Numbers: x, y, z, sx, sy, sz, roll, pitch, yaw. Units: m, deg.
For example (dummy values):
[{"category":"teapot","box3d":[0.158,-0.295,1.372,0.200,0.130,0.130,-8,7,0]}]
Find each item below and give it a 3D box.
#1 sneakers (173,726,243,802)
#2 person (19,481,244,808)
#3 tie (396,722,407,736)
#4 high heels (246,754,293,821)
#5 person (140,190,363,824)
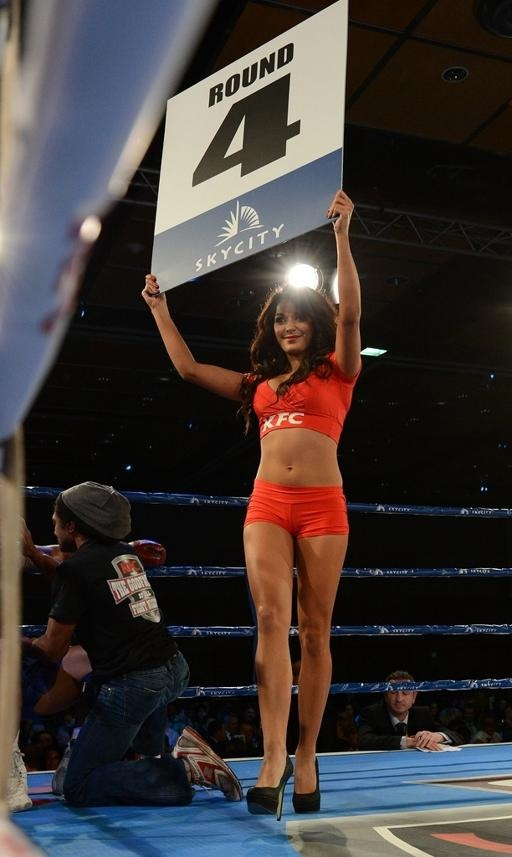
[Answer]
[{"category":"sneakers","box3d":[-0.162,1.042,2.232,0.261,0.113,0.084,46,-18,-3]},{"category":"person","box3d":[-0.422,0.704,2.381,0.745,1.020,0.434,-1,1,0]},{"category":"tie","box3d":[0.785,1.620,3.932,0.069,0.076,0.086,-1,-13,0]},{"category":"high heels","box3d":[0.034,0.917,1.840,0.063,0.074,0.191,-1,-6,12]},{"category":"person","box3d":[0.076,0.225,2.184,0.435,1.780,0.784,9,0,-35]}]
